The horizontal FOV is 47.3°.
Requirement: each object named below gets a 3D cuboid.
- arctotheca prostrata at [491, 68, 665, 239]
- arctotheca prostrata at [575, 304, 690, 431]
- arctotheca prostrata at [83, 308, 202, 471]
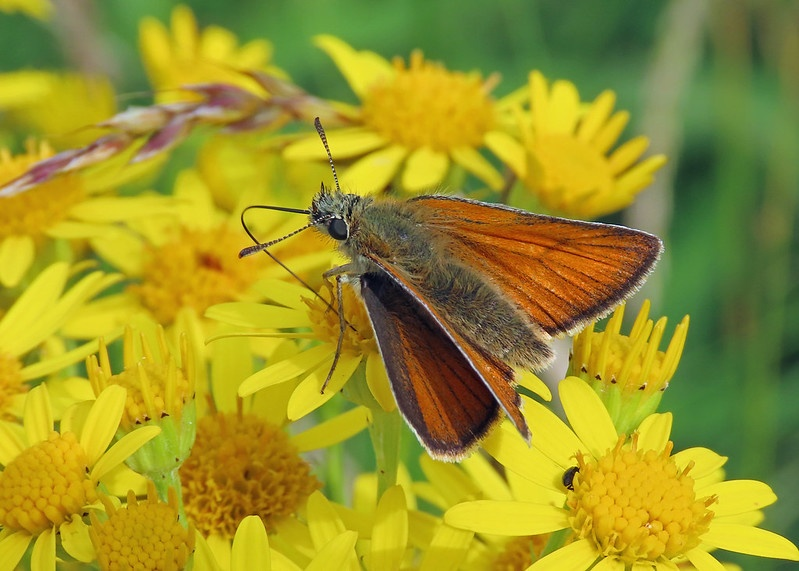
[{"bbox_3d":[0.250,-0.192,1.261,0.192,0.087,0.210,-6,74,-1],"label":"arctotheca prostrata"},{"bbox_3d":[0.323,0.115,1.292,0.127,0.120,0.196,1,68,54],"label":"arctotheca prostrata"},{"bbox_3d":[-0.356,0.163,1.261,0.134,0.222,0.138,0,-1,-26],"label":"arctotheca prostrata"}]
